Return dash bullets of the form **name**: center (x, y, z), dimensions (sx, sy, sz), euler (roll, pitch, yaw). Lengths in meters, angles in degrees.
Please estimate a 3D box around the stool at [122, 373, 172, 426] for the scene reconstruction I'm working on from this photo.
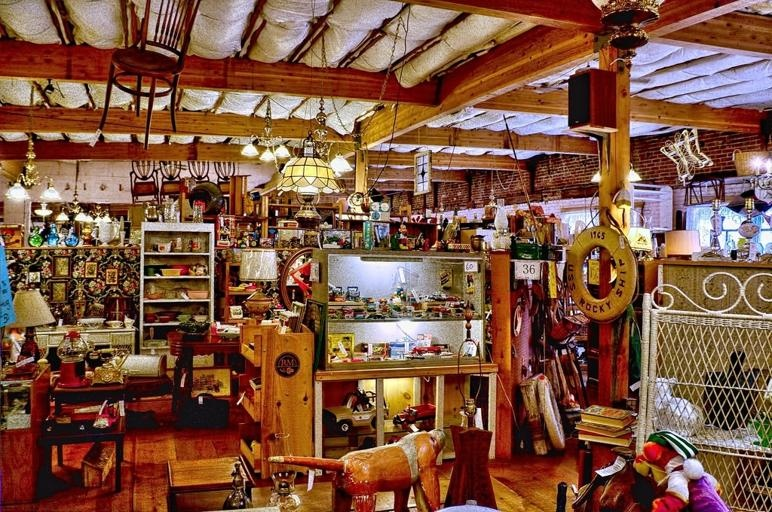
- **stool**: center (-3.266, 1.916, 8.744), dimensions (0.603, 0.800, 1.682), euler (-1, 1, -21)

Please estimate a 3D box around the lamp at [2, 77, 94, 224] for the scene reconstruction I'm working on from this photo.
- **lamp**: center (-6.428, -1.991, 11.994), dimensions (1.901, 2.198, 1.831), euler (1, -3, -15)

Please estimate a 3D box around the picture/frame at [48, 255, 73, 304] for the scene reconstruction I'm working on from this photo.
- **picture/frame**: center (-5.283, 0.389, 10.319), dimensions (0.313, 0.773, 0.072), euler (0, 1, -3)

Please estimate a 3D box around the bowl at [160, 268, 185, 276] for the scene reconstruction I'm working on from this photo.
- **bowl**: center (-3.437, 0.265, 10.225), dimensions (0.347, 0.133, 0.177), euler (-1, 1, -21)

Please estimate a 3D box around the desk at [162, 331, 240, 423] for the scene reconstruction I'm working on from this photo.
- **desk**: center (-2.397, 1.674, 9.206), dimensions (1.380, 1.331, 1.137), euler (1, -6, -7)

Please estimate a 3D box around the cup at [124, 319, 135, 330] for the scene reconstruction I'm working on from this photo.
- **cup**: center (-4.093, 1.088, 10.158), dimensions (0.156, 0.168, 0.175), euler (-4, -11, 16)

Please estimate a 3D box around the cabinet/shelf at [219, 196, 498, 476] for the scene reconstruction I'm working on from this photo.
- **cabinet/shelf**: center (0.088, 0.714, 8.103), dimensions (4.035, 4.276, 2.050), euler (0, 2, -11)

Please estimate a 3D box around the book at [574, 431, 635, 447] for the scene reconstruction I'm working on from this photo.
- **book**: center (1.964, 1.632, 5.696), dimensions (0.466, 0.155, 0.181), euler (0, 1, 17)

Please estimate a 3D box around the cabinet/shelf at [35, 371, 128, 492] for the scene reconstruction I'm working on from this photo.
- **cabinet/shelf**: center (-3.493, 1.791, 7.353), dimensions (1.005, 1.357, 1.460), euler (0, 0, -16)

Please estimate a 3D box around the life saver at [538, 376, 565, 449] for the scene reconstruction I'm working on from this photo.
- **life saver**: center (2.095, 1.938, 7.901), dimensions (0.457, 0.897, 0.262), euler (-1, 1, -41)

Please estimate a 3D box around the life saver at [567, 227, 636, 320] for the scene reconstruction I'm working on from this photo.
- **life saver**: center (2.071, 0.173, 6.045), dimensions (0.212, 0.813, 0.791), euler (4, 17, -21)
